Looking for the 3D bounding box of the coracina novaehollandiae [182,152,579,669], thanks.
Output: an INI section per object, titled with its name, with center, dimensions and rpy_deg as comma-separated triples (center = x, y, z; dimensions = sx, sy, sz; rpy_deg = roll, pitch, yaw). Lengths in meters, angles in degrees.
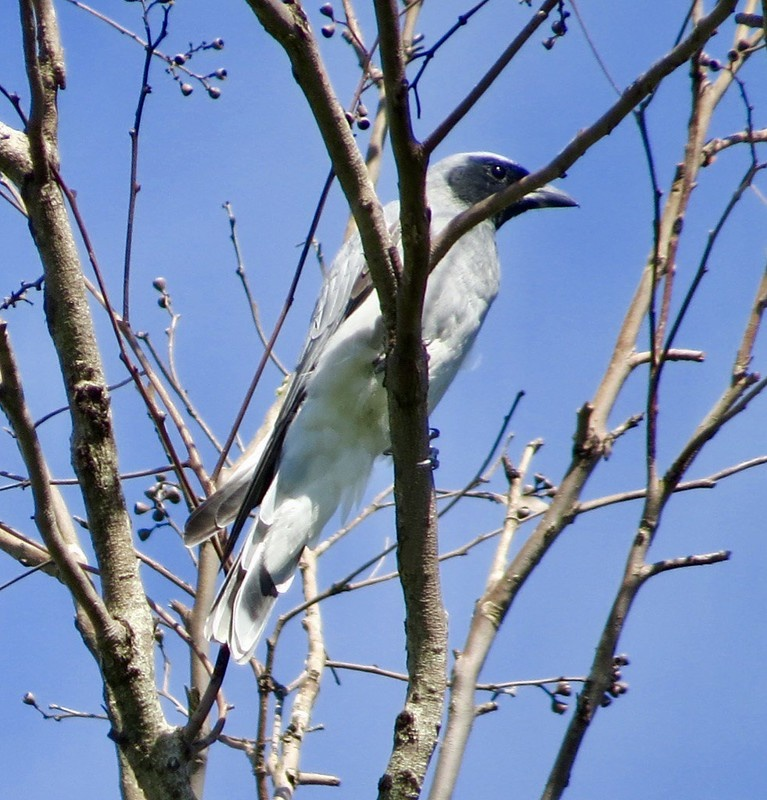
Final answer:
[coracina novaehollandiae]
center = -0.060, 0.081, 4.607
dimensions = 1.271, 0.549, 0.389
rpy_deg = -49, -21, -6
